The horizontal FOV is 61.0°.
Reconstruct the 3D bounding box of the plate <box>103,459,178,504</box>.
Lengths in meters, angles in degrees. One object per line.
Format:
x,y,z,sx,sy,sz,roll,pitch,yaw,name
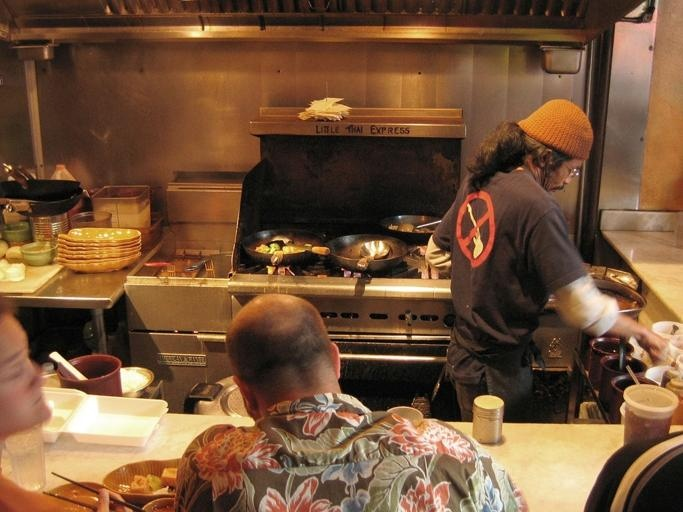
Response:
-0.610,0.680,1.755,0.136,0.030,0.117,-4,17,-24,plate

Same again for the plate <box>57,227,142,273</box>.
-1.413,-0.045,3.372,0.406,0.159,0.304,-1,19,-12,plate

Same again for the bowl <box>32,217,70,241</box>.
-1.789,-0.171,3.537,0.178,0.176,0.176,2,23,-1,bowl

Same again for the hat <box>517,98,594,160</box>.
0.885,-0.522,2.410,0.254,0.253,0.194,-7,14,-21,hat

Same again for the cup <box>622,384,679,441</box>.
0.924,0.473,1.737,0.152,0.187,0.148,-2,25,1,cup

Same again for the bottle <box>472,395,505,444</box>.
0.484,0.546,1.912,0.107,0.111,0.103,-3,8,-22,bottle

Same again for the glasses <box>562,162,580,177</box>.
0.968,-0.369,2.450,0.067,0.019,0.064,-1,43,-21,glasses

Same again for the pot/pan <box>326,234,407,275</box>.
0.141,-0.009,3.307,0.480,0.164,0.469,4,14,24,pot/pan

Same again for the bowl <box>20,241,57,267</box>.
-1.760,-0.014,3.396,0.158,0.072,0.150,3,26,-2,bowl
